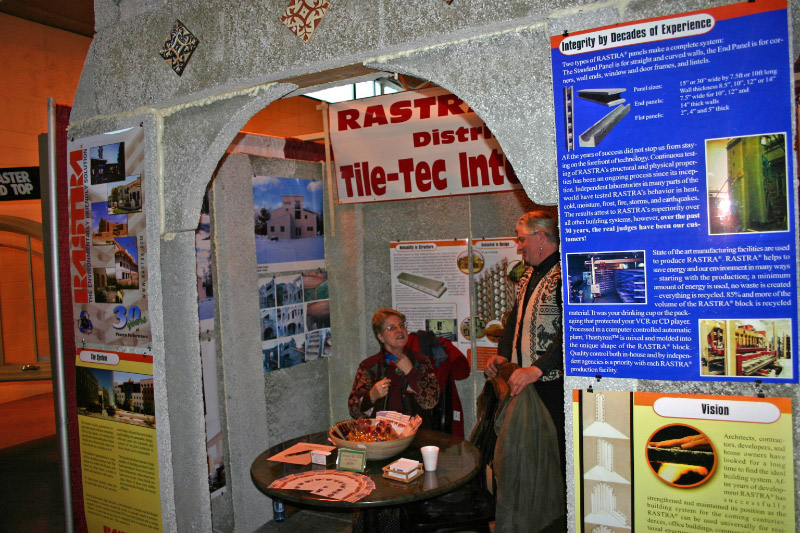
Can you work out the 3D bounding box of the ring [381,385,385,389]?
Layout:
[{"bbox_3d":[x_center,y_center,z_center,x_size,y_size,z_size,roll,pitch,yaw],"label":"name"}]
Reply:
[{"bbox_3d":[-0.105,0.740,4.014,0.027,0.022,0.006,-1,-7,-4],"label":"ring"}]

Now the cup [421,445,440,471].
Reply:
[{"bbox_3d":[0.152,0.981,3.336,0.075,0.128,0.058,-2,0,-8],"label":"cup"}]

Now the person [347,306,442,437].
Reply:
[{"bbox_3d":[-0.049,0.646,4.280,0.583,0.732,0.277,-2,0,-4],"label":"person"}]

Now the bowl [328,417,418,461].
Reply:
[{"bbox_3d":[-0.167,0.909,3.489,0.292,0.087,0.273,-1,2,0],"label":"bowl"}]
